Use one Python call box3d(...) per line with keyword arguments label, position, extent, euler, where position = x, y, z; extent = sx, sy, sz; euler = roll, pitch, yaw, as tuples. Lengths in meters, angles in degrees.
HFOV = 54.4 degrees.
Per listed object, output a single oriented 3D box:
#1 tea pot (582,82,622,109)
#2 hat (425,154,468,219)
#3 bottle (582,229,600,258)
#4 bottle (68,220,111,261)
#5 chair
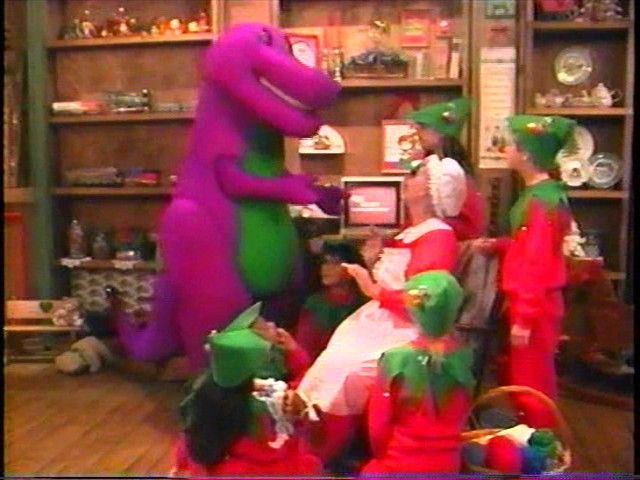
box3d(label="tea pot", position=(1.119, -0.577, 2.478), extent=(0.141, 0.084, 0.089), euler=(-8, 13, -1))
box3d(label="hat", position=(0.386, -0.166, 2.018), extent=(0.148, 0.182, 0.190), euler=(-1, -17, 0))
box3d(label="bottle", position=(1.041, 0.020, 2.392), extent=(0.070, 0.102, 0.025), euler=(-3, -31, 21))
box3d(label="bottle", position=(-0.858, 0.006, 2.414), extent=(0.196, 0.174, 0.109), euler=(1, -2, -7))
box3d(label="chair", position=(0.305, 0.236, 2.106), extent=(0.498, 0.533, 0.436), euler=(2, -5, -5))
